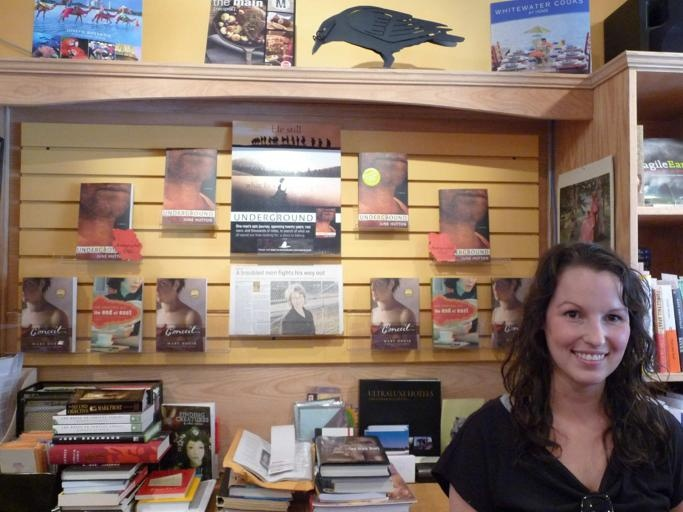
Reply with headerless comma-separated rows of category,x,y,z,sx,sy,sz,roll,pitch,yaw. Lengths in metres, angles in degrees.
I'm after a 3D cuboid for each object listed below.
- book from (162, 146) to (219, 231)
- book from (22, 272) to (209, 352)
book,-0.786,-0.357,3.286,0.261,0.388,0.036,-1,-3,-1
book,-1.155,0.299,3.246,0.909,0.383,0.032,-1,-3,-2
